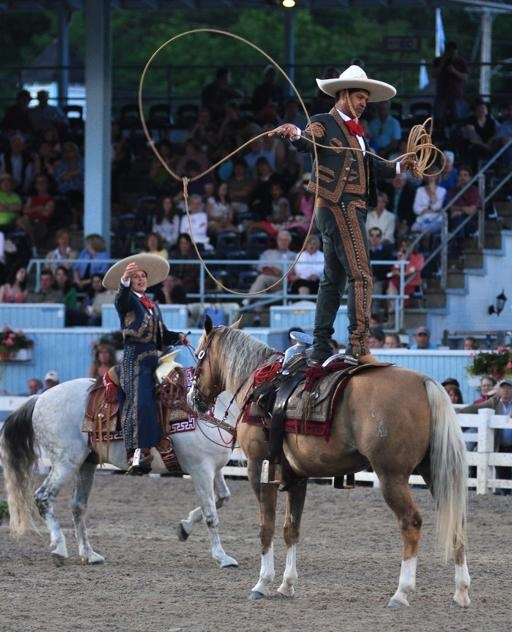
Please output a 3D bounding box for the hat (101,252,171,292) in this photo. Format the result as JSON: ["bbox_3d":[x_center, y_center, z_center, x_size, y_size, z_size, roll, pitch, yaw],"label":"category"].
[{"bbox_3d":[-1.309,-0.495,18.761,0.690,0.415,0.623,-2,6,-11],"label":"hat"}]

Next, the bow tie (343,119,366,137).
[{"bbox_3d":[0.985,-1.884,16.766,0.184,0.173,0.064,-9,-9,-39],"label":"bow tie"}]

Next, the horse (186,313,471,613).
[{"bbox_3d":[0.690,1.397,17.123,3.449,2.909,1.227,-4,-7,40],"label":"horse"}]

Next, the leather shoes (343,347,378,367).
[{"bbox_3d":[1.060,0.401,16.533,0.234,0.128,0.170,2,-1,-10],"label":"leather shoes"}]

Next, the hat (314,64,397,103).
[{"bbox_3d":[1.023,-2.394,16.742,0.539,0.199,0.447,-5,-18,19],"label":"hat"}]

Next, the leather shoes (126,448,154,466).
[{"bbox_3d":[-1.209,1.512,18.198,0.273,0.208,0.228,-3,6,-17],"label":"leather shoes"}]

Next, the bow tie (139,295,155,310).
[{"bbox_3d":[-1.174,-0.161,18.536,0.143,0.161,0.181,0,6,6],"label":"bow tie"}]
